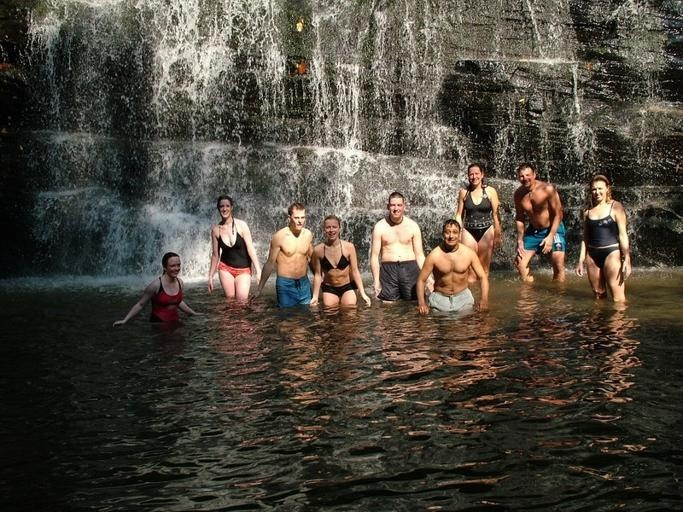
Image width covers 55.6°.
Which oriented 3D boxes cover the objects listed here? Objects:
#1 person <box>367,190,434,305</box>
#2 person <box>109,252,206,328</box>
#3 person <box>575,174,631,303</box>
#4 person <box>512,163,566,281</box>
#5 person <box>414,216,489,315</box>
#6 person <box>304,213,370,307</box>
[{"bbox_3d":[0.918,0.280,9.763,0.961,2.328,0.756,0,21,8],"label":"person"},{"bbox_3d":[-2.423,0.410,8.552,0.815,1.035,0.971,3,15,17],"label":"person"},{"bbox_3d":[3.669,-0.221,8.968,0.748,1.776,0.406,9,19,37],"label":"person"},{"bbox_3d":[3.350,-0.523,10.970,0.860,2.113,0.780,2,15,14],"label":"person"},{"bbox_3d":[1.484,0.163,8.742,1.028,1.179,0.836,-1,6,2],"label":"person"},{"bbox_3d":[-0.047,0.069,9.353,0.841,1.432,0.805,-3,15,-3],"label":"person"}]
